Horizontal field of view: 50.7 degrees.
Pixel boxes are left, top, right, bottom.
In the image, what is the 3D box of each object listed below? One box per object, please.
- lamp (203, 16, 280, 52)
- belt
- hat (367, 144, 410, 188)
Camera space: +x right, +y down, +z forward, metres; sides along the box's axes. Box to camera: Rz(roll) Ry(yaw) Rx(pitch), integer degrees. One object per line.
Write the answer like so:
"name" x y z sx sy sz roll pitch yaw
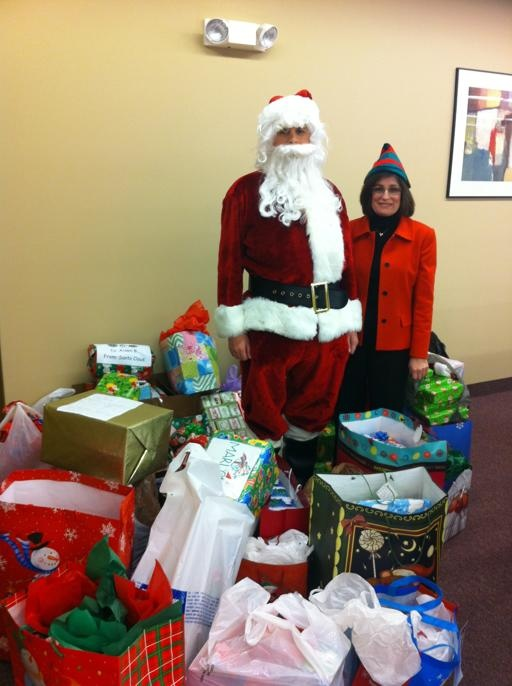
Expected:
"lamp" -0.059 -1.438 2.546 0.382 0.105 0.158 -5 17 -15
"belt" 0.162 -0.184 2.027 0.375 0.128 0.180 0 17 -1
"hat" 0.556 -0.755 2.291 0.170 0.185 0.280 3 17 10
